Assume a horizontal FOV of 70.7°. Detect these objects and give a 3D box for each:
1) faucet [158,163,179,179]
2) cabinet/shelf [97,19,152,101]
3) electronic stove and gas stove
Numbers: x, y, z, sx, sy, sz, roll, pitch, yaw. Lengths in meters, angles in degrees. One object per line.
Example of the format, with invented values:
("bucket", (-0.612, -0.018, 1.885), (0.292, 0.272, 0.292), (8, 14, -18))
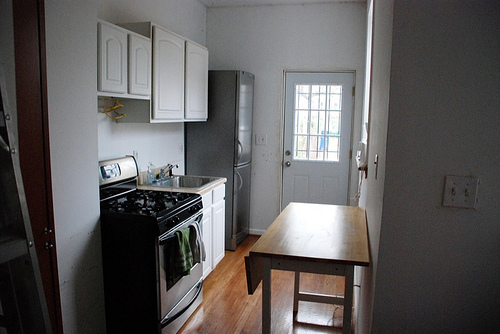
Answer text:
("faucet", (-0.928, 0.058, 4.069), (0.230, 0.099, 0.130), (2, 9, 16))
("cabinet/shelf", (-1.128, -0.882, 3.034), (0.220, 0.541, 0.645), (6, 9, 23))
("electronic stove and gas stove", (-0.940, 0.280, 3.058), (0.611, 0.504, 0.786), (2, 6, 6))
